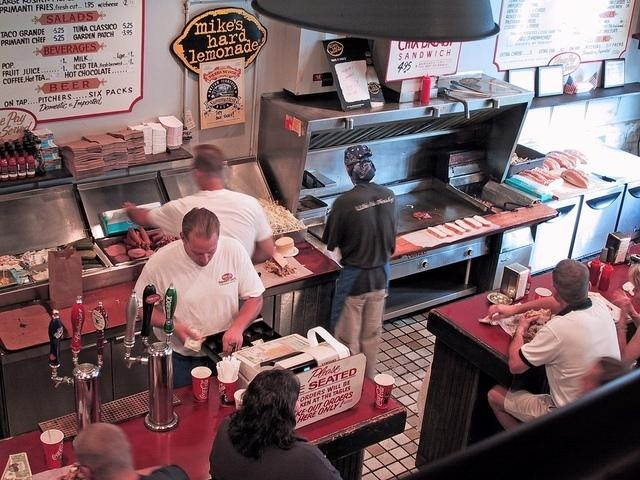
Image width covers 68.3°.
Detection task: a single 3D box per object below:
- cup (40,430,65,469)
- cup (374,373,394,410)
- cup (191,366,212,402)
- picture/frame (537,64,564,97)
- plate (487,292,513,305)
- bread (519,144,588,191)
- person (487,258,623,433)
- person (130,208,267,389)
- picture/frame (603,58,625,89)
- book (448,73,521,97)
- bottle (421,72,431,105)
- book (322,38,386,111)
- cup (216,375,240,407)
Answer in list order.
[{"bbox_3d":[-1.217,0.979,2.175,0.104,0.129,0.101,-4,3,0],"label":"cup"},{"bbox_3d":[0.353,0.830,2.647,0.126,0.195,0.112,-14,27,-16],"label":"cup"},{"bbox_3d":[-0.665,0.820,2.606,0.122,0.131,0.123,-5,-17,-1],"label":"cup"},{"bbox_3d":[3.243,-2.184,6.457,0.181,0.389,0.486,-11,17,-15],"label":"picture/frame"},{"bbox_3d":[1.453,0.476,3.830,0.122,0.028,0.111,1,21,3],"label":"plate"},{"bbox_3d":[3.123,-0.881,6.164,0.748,0.318,1.371,10,27,31],"label":"bread"},{"bbox_3d":[1.607,0.764,3.263,0.842,1.208,0.779,4,27,19],"label":"person"},{"bbox_3d":[-0.719,0.347,3.040,0.768,1.098,0.690,-18,28,-25],"label":"person"},{"bbox_3d":[4.359,-2.490,7.014,0.479,0.365,0.048,-13,20,-32],"label":"picture/frame"},{"bbox_3d":[1.831,-1.736,5.323,0.619,0.075,0.398,-6,26,-21],"label":"book"},{"bbox_3d":[1.101,-1.559,4.901,0.126,0.279,0.220,0,26,13],"label":"bottle"},{"bbox_3d":[0.355,-1.636,4.646,0.560,0.668,0.418,-15,27,-19],"label":"book"},{"bbox_3d":[-0.490,0.804,2.597,0.147,0.134,0.136,3,29,-2],"label":"cup"}]
